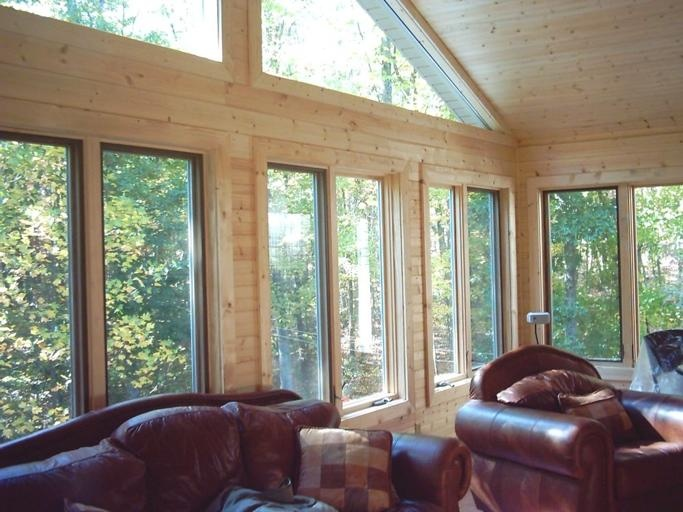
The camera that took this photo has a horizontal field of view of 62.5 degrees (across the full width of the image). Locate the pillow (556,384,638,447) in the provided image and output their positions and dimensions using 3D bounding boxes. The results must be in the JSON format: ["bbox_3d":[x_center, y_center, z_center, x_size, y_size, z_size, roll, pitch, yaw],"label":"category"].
[{"bbox_3d":[1.695,1.095,3.776,0.403,0.374,0.117,-3,-30,-38],"label":"pillow"}]
